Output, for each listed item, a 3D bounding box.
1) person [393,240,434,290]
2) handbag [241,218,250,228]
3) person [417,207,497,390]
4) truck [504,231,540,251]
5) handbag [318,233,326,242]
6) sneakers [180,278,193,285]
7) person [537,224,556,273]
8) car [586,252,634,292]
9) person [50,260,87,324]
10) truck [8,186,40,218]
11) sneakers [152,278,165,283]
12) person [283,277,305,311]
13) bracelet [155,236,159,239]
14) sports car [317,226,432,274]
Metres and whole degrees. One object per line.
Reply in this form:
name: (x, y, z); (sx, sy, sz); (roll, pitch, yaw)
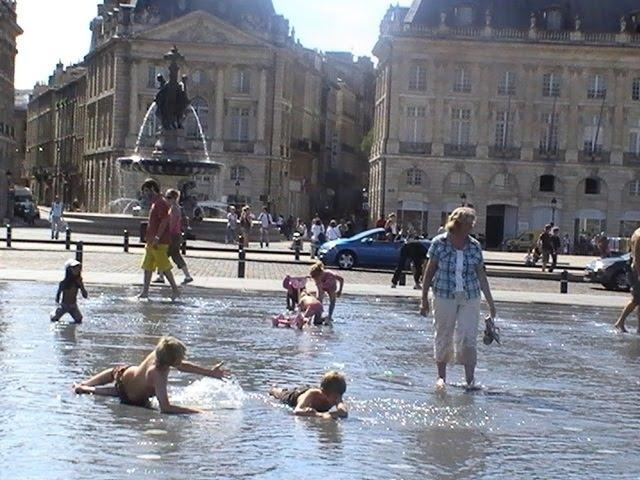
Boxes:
person: (2.261, 0.632, 27.565); (0.935, 1.398, 0.508); (12, 17, 21)
handbag: (-3.008, -0.629, 46.238); (0.379, 0.311, 0.299); (3, 3, 3)
person: (2.040, 0.899, 16.990); (0.953, 2.705, 0.456); (3, 3, 9)
truck: (11.875, 0.127, 66.665); (1.980, 1.188, 1.230); (2, 2, 10)
handbag: (0.089, -0.064, 44.832); (0.246, 0.520, 0.340); (-5, 18, -11)
sneakers: (-3.115, 0.991, 26.596); (0.114, 0.159, 0.332); (-38, 20, -34)
person: (8.526, 0.357, 42.529); (0.686, 1.778, 0.444); (-2, -21, 11)
car: (8.564, 1.006, 33.670); (1.723, 0.958, 1.074); (4, -3, -2)
person: (-4.467, 0.925, 20.334); (0.596, 1.151, 1.339); (2, 3, -13)
truck: (-16.546, -2.001, 64.260); (1.105, 1.343, 3.517); (0, -2, -15)
sneakers: (-3.771, 0.983, 26.737); (0.117, 0.155, 0.347); (1, 3, -43)
person: (-0.507, 1.059, 22.728); (0.345, 0.772, 0.401); (-1, 30, -5)
bracelet: (-3.323, -0.025, 23.301); (0.074, 0.083, 0.045); (-3, -8, 20)
sports car: (1.588, 0.277, 38.270); (2.949, 1.275, 1.629); (3, -3, -3)
